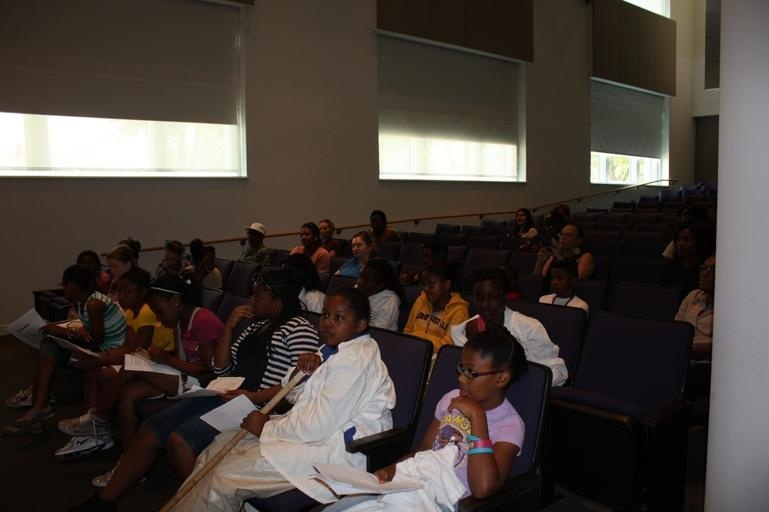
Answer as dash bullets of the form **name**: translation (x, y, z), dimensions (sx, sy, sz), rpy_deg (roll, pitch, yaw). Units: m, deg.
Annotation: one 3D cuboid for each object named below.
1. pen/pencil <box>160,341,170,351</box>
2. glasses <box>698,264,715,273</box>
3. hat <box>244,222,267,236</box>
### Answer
- **pen/pencil**: translation (-1.506, 0.623, 3.352), dimensions (0.023, 0.029, 0.103), rpy_deg (30, -61, -31)
- **glasses**: translation (2.271, 0.088, 3.445), dimensions (0.070, 0.024, 0.070), rpy_deg (7, -6, -19)
- **hat**: translation (-1.990, -0.403, 7.476), dimensions (0.231, 0.121, 0.173), rpy_deg (29, -9, -29)
